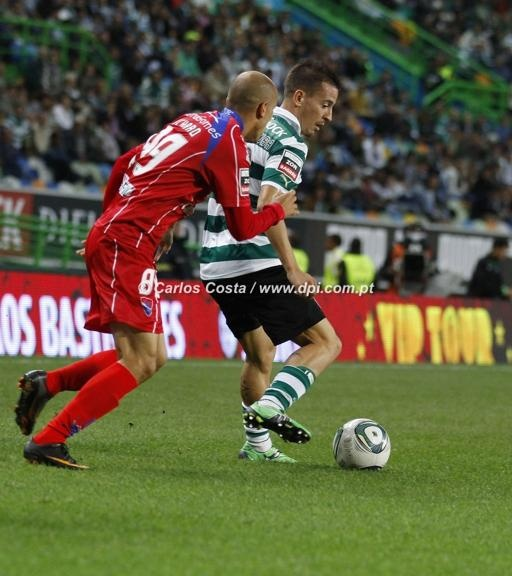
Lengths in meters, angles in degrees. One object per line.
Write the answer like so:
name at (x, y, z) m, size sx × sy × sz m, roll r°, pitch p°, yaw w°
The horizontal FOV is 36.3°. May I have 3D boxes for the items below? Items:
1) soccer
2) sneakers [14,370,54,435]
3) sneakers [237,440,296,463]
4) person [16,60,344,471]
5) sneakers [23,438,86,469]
soccer at (0.514, 0.763, 3.771) m, size 0.271 × 0.210 × 0.232 m, roll 1°, pitch -6°, yaw 2°
sneakers at (-1.074, 0.525, 3.643) m, size 0.139 × 0.309 × 0.178 m, roll 12°, pitch -3°, yaw 25°
sneakers at (0.040, 0.841, 3.970) m, size 0.329 × 0.117 × 0.100 m, roll 1°, pitch -6°, yaw -6°
person at (-0.405, -0.108, 3.409) m, size 0.991 × 1.418 × 0.391 m, roll 5°, pitch -2°, yaw 1°
sneakers at (-0.814, 0.715, 3.372) m, size 0.332 × 0.119 × 0.100 m, roll 9°, pitch -5°, yaw -10°
